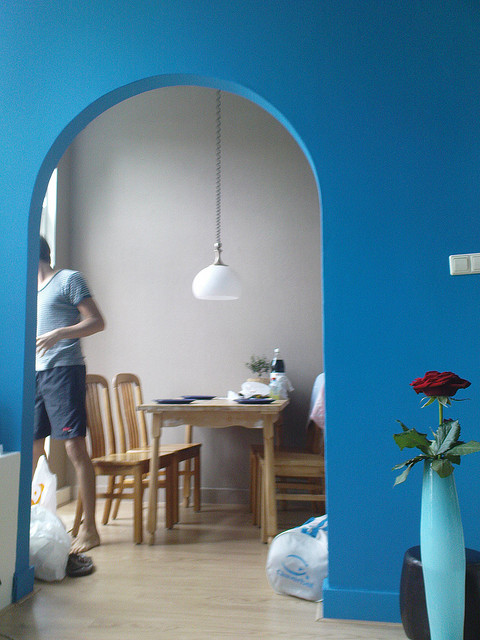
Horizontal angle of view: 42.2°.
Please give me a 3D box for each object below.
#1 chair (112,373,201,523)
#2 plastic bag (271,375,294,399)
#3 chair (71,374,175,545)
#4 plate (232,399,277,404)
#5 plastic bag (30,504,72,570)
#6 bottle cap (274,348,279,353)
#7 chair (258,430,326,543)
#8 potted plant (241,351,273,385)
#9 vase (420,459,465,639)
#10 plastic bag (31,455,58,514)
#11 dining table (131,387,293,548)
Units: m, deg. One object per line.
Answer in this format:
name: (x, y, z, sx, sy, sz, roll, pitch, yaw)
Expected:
chair: (-0.516, 0.665, 3.637, 0.435, 0.893, 0.475, 0, -2, 7)
plastic bag: (0.244, 0.402, 3.682, 0.069, 0.138, 0.175, 1, 6, 36)
chair: (-0.513, 0.672, 3.226, 0.369, 0.739, 0.453, 10, 0, 33)
plate: (0.057, 0.407, 3.087, 0.208, 0.022, 0.093, -2, -6, 22)
plastic bag: (-0.771, 0.862, 2.466, 0.185, 0.216, 0.141, -1, -5, 10)
bottle cap: (0.229, 0.198, 3.963, 0.023, 0.016, 0.023, -1, 4, -6)
chair: (0.257, 0.841, 3.121, 0.264, 0.468, 0.282, 1, -3, -6)
potted plant: (0.107, 0.311, 3.992, 0.204, 0.203, 0.176, 1, -2, -2)
vase: (0.503, 0.594, 1.595, 0.103, 0.370, 0.182, 0, -2, 9)
plastic bag: (-0.841, 0.709, 2.695, 0.087, 0.239, 0.123, 0, -3, -1)
dining table: (-0.203, 0.665, 3.196, 0.525, 0.507, 0.651, 19, -14, -29)
